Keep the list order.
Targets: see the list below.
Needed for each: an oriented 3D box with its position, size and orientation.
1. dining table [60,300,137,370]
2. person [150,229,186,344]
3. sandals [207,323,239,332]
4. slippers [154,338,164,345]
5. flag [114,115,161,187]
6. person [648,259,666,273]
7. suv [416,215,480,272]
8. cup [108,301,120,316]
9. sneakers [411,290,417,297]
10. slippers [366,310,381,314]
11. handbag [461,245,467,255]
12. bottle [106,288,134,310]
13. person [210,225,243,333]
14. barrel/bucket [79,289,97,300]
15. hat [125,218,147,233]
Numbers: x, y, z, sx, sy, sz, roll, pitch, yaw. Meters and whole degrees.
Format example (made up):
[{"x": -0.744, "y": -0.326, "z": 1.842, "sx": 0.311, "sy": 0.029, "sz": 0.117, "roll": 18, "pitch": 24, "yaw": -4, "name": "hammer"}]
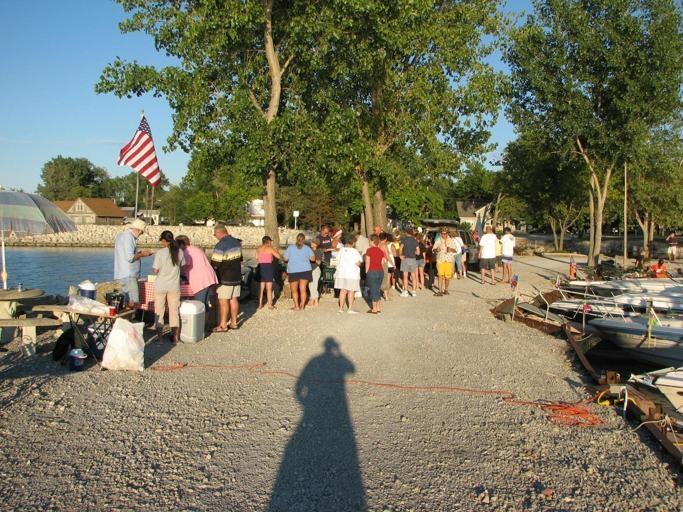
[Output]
[{"x": -4.551, "y": 1.321, "z": 10.173, "sx": 0.665, "sy": 0.649, "sz": 1.235, "roll": 25, "pitch": -5, "yaw": -42, "name": "dining table"}, {"x": -3.598, "y": 0.650, "z": 11.390, "sx": 0.600, "sy": 2.319, "sz": 0.692, "roll": -1, "pitch": 1, "yaw": -19, "name": "person"}, {"x": -2.733, "y": 1.688, "z": 12.868, "sx": 0.528, "sy": 0.152, "sz": 0.218, "roll": 4, "pitch": -2, "yaw": -25, "name": "sandals"}, {"x": -3.871, "y": 1.820, "z": 11.538, "sx": 0.135, "sy": 0.036, "sz": 0.140, "roll": 11, "pitch": 15, "yaw": -4, "name": "slippers"}, {"x": -6.255, "y": -3.279, "z": 16.966, "sx": 1.104, "sy": 2.264, "sz": 1.060, "roll": -1, "pitch": 1, "yaw": -21, "name": "flag"}, {"x": 13.941, "y": 0.427, "z": 24.224, "sx": 0.375, "sy": 0.274, "sz": 0.864, "roll": 17, "pitch": 10, "yaw": 16, "name": "person"}, {"x": 4.954, "y": -0.594, "z": 24.708, "sx": 1.955, "sy": 2.191, "sz": 3.502, "roll": 2, "pitch": 9, "yaw": 31, "name": "suv"}, {"x": -4.260, "y": 1.009, "z": 10.189, "sx": 0.148, "sy": 0.250, "sz": 0.242, "roll": 2, "pitch": -4, "yaw": -12, "name": "cup"}, {"x": 2.411, "y": 1.253, "z": 18.299, "sx": 0.152, "sy": 0.306, "sz": 0.163, "roll": 1, "pitch": 4, "yaw": 2, "name": "sneakers"}, {"x": 0.885, "y": 1.507, "z": 14.939, "sx": 0.372, "sy": 0.109, "sz": 0.509, "roll": -1, "pitch": 1, "yaw": 2, "name": "slippers"}, {"x": 5.302, "y": -0.253, "z": 23.582, "sx": 0.143, "sy": 0.378, "sz": 0.413, "roll": 2, "pitch": -18, "yaw": 21, "name": "handbag"}, {"x": -4.552, "y": 0.949, "z": 11.126, "sx": 0.443, "sy": 0.327, "sz": 0.698, "roll": -1, "pitch": 11, "yaw": -36, "name": "bottle"}, {"x": -2.763, "y": 0.483, "z": 12.804, "sx": 0.801, "sy": 2.459, "sz": 0.959, "roll": 1, "pitch": 3, "yaw": 33, "name": "person"}, {"x": -5.344, "y": 0.770, "z": 11.453, "sx": 0.305, "sy": 0.331, "sz": 0.314, "roll": 1, "pitch": 1, "yaw": 0, "name": "barrel/bucket"}, {"x": -4.614, "y": -0.613, "z": 12.340, "sx": 0.380, "sy": 0.185, "sz": 0.463, "roll": 29, "pitch": 2, "yaw": -1, "name": "hat"}]
